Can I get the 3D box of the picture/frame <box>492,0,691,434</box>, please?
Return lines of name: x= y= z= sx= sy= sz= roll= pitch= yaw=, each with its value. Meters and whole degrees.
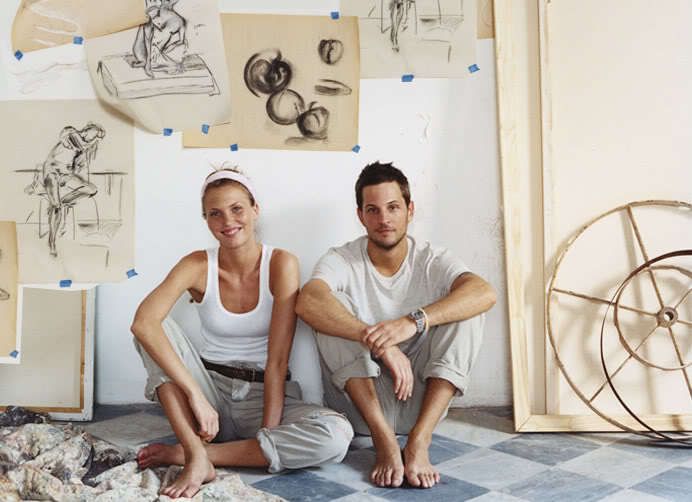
picture/frame: x=1.120 y=-0.221 z=3.358 sx=0.577 sy=2.250 sz=0.770 roll=-2 pitch=12 yaw=-12

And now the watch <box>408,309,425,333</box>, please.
watch: x=0.355 y=0.334 z=3.087 sx=0.073 sy=0.109 sz=0.098 roll=-8 pitch=42 yaw=-1

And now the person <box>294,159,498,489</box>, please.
person: x=0.258 y=0.332 z=3.464 sx=1.168 sy=1.682 sz=1.372 roll=0 pitch=0 yaw=-3
